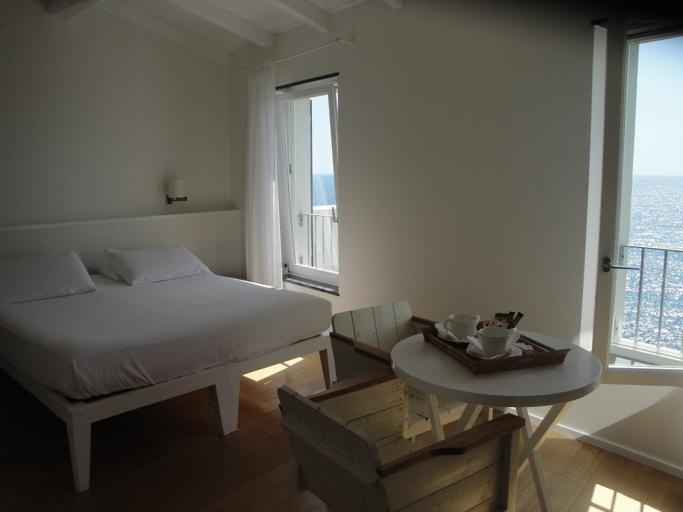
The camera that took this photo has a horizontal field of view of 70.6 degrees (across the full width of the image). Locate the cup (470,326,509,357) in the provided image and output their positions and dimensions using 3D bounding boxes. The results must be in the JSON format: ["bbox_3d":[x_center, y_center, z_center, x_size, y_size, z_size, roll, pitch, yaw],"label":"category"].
[{"bbox_3d":[0.623,0.352,2.013,0.121,0.089,0.101,-11,16,-14],"label":"cup"}]

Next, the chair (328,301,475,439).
[{"bbox_3d":[0.340,0.594,2.487,0.582,0.596,0.616,-8,11,-26],"label":"chair"}]

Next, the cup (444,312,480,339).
[{"bbox_3d":[0.558,0.312,2.203,0.118,0.081,0.101,-4,7,-10],"label":"cup"}]

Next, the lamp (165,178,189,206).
[{"bbox_3d":[-1.461,-0.568,4.220,0.173,0.247,0.199,-11,17,-30],"label":"lamp"}]
